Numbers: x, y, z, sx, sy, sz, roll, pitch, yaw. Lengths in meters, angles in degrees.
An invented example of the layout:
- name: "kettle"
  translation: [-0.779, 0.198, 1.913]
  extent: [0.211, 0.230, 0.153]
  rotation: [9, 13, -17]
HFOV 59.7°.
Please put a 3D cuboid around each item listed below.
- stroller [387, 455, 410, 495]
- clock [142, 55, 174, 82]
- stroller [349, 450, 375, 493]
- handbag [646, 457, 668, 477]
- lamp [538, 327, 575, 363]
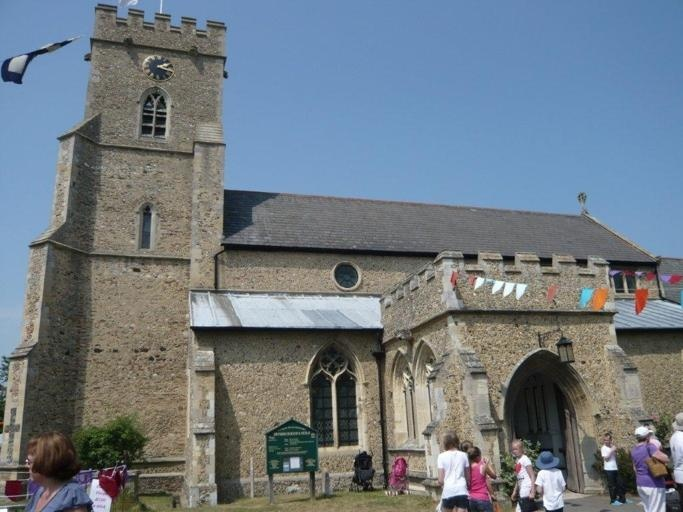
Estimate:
- name: "stroller"
  translation: [1.773, 6.745, 18.330]
  extent: [0.537, 0.978, 0.666]
  rotation: [-3, -10, 31]
- name: "clock"
  translation: [-8.448, -8.478, 27.115]
  extent: [1.503, 1.393, 0.086]
  rotation: [0, -16, -28]
- name: "stroller"
  translation: [0.681, 6.912, 19.104]
  extent: [0.841, 1.223, 1.226]
  rotation: [5, -17, -5]
- name: "handbag"
  translation: [5.894, 3.930, 11.102]
  extent: [0.394, 0.390, 0.165]
  rotation: [0, -10, 20]
- name: "lamp"
  translation: [6.171, 2.618, 17.210]
  extent: [0.564, 0.898, 1.661]
  rotation: [1, 28, 7]
